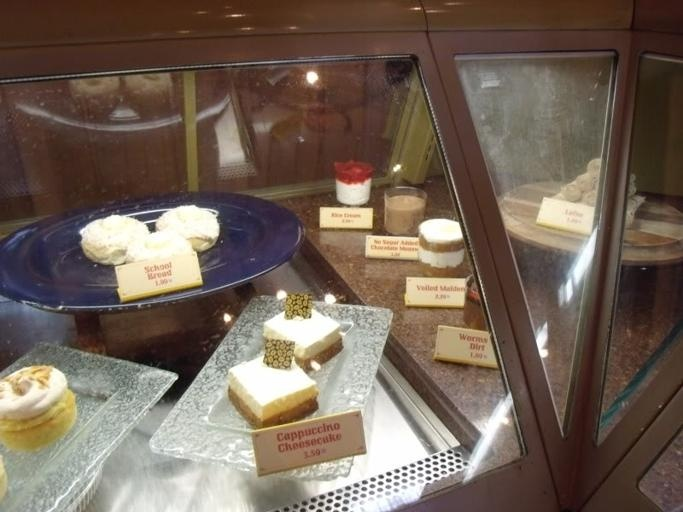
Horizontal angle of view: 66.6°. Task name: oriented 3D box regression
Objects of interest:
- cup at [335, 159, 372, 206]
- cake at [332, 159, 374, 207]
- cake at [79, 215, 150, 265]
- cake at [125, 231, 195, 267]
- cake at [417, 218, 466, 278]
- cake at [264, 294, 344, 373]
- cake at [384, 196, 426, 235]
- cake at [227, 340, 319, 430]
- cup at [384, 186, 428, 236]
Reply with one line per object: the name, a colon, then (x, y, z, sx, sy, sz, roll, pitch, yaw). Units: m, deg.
cup: (0.031, -0.198, 1.384, 0.092, 0.099, 0.094, 0, 31, 0)
cake: (0.024, -0.197, 1.389, 0.092, 0.103, 0.095, -15, 36, -20)
cake: (-0.448, -0.036, 1.008, 0.101, 0.063, 0.105, -1, 28, -17)
cake: (-0.364, -0.016, 1.045, 0.079, 0.034, 0.080, 22, 32, 27)
cake: (0.250, -0.040, 1.457, 0.140, 0.165, 0.148, -4, 33, 0)
cake: (-0.080, 0.152, 1.101, 0.137, 0.087, 0.186, -24, 43, -33)
cake: (0.172, -0.126, 1.495, 0.096, 0.114, 0.105, -4, 44, -6)
cake: (-0.133, 0.241, 0.991, 0.136, 0.093, 0.137, -16, 34, -33)
cup: (0.166, -0.142, 1.473, 0.117, 0.138, 0.125, 0, 42, 0)
